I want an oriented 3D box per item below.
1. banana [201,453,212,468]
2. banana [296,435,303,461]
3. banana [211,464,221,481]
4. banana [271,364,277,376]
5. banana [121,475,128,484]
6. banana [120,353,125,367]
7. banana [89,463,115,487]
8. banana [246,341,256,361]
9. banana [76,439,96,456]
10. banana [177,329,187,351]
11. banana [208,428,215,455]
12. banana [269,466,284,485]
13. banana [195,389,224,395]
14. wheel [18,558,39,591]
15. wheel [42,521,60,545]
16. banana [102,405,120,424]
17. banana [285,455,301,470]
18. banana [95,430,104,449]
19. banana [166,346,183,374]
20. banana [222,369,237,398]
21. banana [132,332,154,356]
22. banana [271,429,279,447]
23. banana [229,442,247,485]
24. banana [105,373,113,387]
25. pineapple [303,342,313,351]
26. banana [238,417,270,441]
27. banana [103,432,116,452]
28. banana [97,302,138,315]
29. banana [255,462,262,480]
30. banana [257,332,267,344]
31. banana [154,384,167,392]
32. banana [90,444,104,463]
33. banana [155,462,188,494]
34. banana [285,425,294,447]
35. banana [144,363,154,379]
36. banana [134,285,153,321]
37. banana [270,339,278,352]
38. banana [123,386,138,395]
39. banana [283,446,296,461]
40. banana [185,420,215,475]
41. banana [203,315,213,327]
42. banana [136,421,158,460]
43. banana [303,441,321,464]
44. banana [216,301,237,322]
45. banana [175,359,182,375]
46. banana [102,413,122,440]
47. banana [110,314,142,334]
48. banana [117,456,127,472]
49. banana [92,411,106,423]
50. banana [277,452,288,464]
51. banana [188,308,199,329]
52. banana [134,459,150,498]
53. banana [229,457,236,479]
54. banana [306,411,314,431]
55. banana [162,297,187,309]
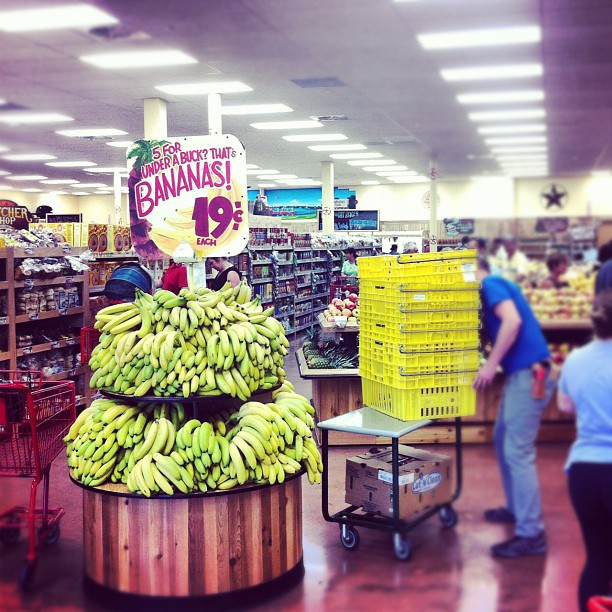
[{"bbox_3d":[-0.433,0.665,2.382,0.022,0.080,0.029,-6,10,20],"label":"banana"},{"bbox_3d":[-0.035,0.697,2.694,0.031,0.122,0.039,14,-25,-25],"label":"banana"},{"bbox_3d":[-0.402,0.733,2.429,0.030,0.022,0.082,11,47,-1],"label":"banana"},{"bbox_3d":[-0.165,0.326,2.811,0.016,0.057,0.021,-28,37,-29],"label":"banana"},{"bbox_3d":[-0.842,0.799,2.521,0.017,0.031,0.031,-17,-16,-38],"label":"banana"},{"bbox_3d":[-0.838,0.244,2.487,0.017,0.062,0.021,11,-3,12],"label":"banana"},{"bbox_3d":[-0.940,0.782,2.517,0.043,0.121,0.030,45,-19,-29],"label":"banana"},{"bbox_3d":[-0.255,0.207,2.534,0.037,0.103,0.027,21,-44,-25],"label":"banana"},{"bbox_3d":[-1.026,0.660,2.549,0.029,0.023,0.085,26,58,39],"label":"banana"},{"bbox_3d":[-0.560,0.157,2.492,0.024,0.088,0.029,-12,2,13],"label":"banana"},{"bbox_3d":[-0.427,0.606,2.454,0.021,0.090,0.029,15,-31,-13],"label":"banana"},{"bbox_3d":[-0.133,0.766,2.478,0.020,0.060,0.076,-12,38,25],"label":"banana"},{"bbox_3d":[-0.442,0.383,2.449,0.104,0.024,0.032,-2,47,-3],"label":"banana"},{"bbox_3d":[-1.381,1.314,2.706,0.078,0.100,0.198,-3,3,-25],"label":"wheel"},{"bbox_3d":[-1.466,1.299,3.126,0.136,0.130,0.051,-3,0,-28],"label":"wheel"},{"bbox_3d":[-0.936,0.508,2.594,0.031,0.116,0.039,25,-13,7],"label":"banana"},{"bbox_3d":[-0.063,0.750,2.614,0.030,0.101,0.032,-36,-11,-15],"label":"banana"},{"bbox_3d":[-0.951,0.612,2.512,0.027,0.090,0.030,19,-19,-5],"label":"banana"},{"bbox_3d":[-0.582,0.232,2.454,0.035,0.036,0.145,-13,39,42],"label":"banana"},{"bbox_3d":[-0.343,0.337,2.457,0.039,0.146,0.046,-22,-14,31],"label":"banana"},{"bbox_3d":[-0.754,0.179,2.461,0.148,0.048,0.041,-50,22,-23],"label":"banana"},{"bbox_3d":[-0.140,0.612,2.537,0.021,0.079,0.026,-10,25,26],"label":"banana"},{"bbox_3d":[-0.301,0.684,2.390,0.062,0.189,0.053,-28,-19,29],"label":"banana"},{"bbox_3d":[-0.942,0.354,2.603,0.037,0.072,0.024,13,2,7],"label":"banana"},{"bbox_3d":[0.007,0.379,5.227,0.075,0.029,0.055,-35,33,-29],"label":"pineapple"},{"bbox_3d":[-0.239,0.560,2.505,0.163,0.079,0.037,22,-2,43],"label":"banana"},{"bbox_3d":[-0.910,0.630,2.528,0.023,0.085,0.026,36,-30,-18],"label":"banana"},{"bbox_3d":[-1.069,0.010,3.101,0.225,0.057,0.055,-9,29,-23],"label":"banana"},{"bbox_3d":[-0.215,0.741,2.454,0.021,0.071,0.023,1,0,18],"label":"banana"},{"bbox_3d":[-0.211,0.147,2.577,0.019,0.055,0.029,-4,27,46],"label":"banana"},{"bbox_3d":[-0.659,0.369,2.457,0.049,0.027,0.021,-1,3,19],"label":"banana"},{"bbox_3d":[-0.952,0.678,2.497,0.025,0.091,0.033,32,-6,-4],"label":"banana"},{"bbox_3d":[-0.581,0.741,2.350,0.028,0.145,0.037,-50,-8,38],"label":"banana"},{"bbox_3d":[-0.083,0.626,2.647,0.030,0.107,0.036,5,15,12],"label":"banana"},{"bbox_3d":[-0.705,0.292,2.448,0.028,0.088,0.029,-4,42,-30],"label":"banana"},{"bbox_3d":[-0.768,-0.017,2.630,0.080,0.157,0.095,-8,-17,-41],"label":"banana"},{"bbox_3d":[-0.166,0.192,2.737,0.026,0.071,0.020,-3,16,3],"label":"banana"},{"bbox_3d":[-0.803,0.385,2.499,0.029,0.017,0.056,33,47,24],"label":"banana"},{"bbox_3d":[-0.085,0.711,2.669,0.027,0.035,0.096,-6,25,-24],"label":"banana"},{"bbox_3d":[-0.466,0.629,2.463,0.094,0.071,0.208,-40,24,21],"label":"banana"},{"bbox_3d":[-0.466,0.068,2.573,0.030,0.055,0.019,-27,10,-25],"label":"banana"},{"bbox_3d":[-0.715,0.611,2.473,0.045,0.212,0.072,33,-21,-13],"label":"banana"},{"bbox_3d":[0.031,0.741,2.810,0.076,0.128,0.136,-1,3,10],"label":"banana"},{"bbox_3d":[-0.408,0.003,2.684,0.160,0.043,0.050,45,-5,33],"label":"banana"},{"bbox_3d":[-0.566,0.269,2.408,0.024,0.045,0.016,-7,-28,32],"label":"banana"},{"bbox_3d":[-0.905,0.565,2.540,0.027,0.098,0.032,40,-36,-17],"label":"banana"},{"bbox_3d":[-0.862,0.085,2.613,0.143,0.047,0.028,-30,-1,-18],"label":"banana"},{"bbox_3d":[-0.858,0.733,2.551,0.021,0.076,0.025,30,-36,-16],"label":"banana"},{"bbox_3d":[-1.005,0.536,2.656,0.027,0.021,0.081,9,43,35],"label":"banana"},{"bbox_3d":[-0.113,0.723,2.610,0.044,0.050,0.050,-2,3,-9],"label":"banana"},{"bbox_3d":[-0.529,0.057,2.550,0.037,0.095,0.091,-3,3,-29],"label":"banana"},{"bbox_3d":[-0.713,0.748,2.351,0.069,0.197,0.043,-19,-17,35],"label":"banana"},{"bbox_3d":[-0.328,0.712,2.402,0.025,0.086,0.029,-14,-10,29],"label":"banana"},{"bbox_3d":[0.015,0.600,2.842,0.034,0.100,0.028,-12,11,24],"label":"banana"},{"bbox_3d":[-0.625,-0.016,2.589,0.111,0.056,0.072,-2,3,-16],"label":"banana"}]
